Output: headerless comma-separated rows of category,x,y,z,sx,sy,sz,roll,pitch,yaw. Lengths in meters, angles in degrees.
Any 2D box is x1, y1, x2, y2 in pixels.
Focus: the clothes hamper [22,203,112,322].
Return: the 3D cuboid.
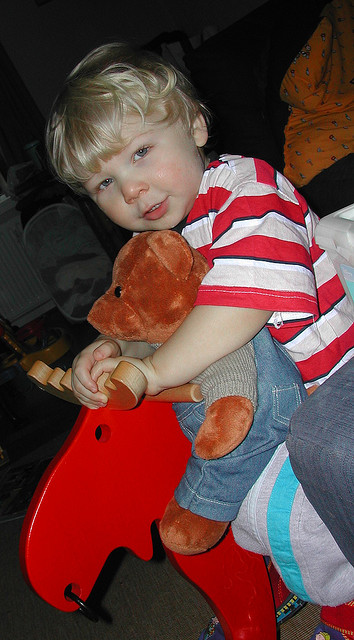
clothes hamper,-0.572,-0.310,2.528,0.419,0.744,0.151,-31,25,-4
